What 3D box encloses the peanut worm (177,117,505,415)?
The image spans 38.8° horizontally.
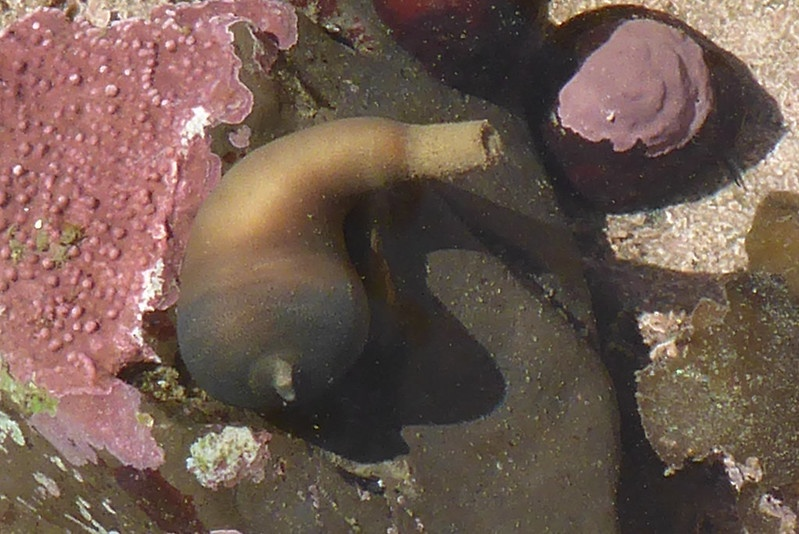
[{"bbox_3d":[-0.850,-0.193,9.713,1.747,0.395,2.961,31,86,5],"label":"peanut worm"}]
